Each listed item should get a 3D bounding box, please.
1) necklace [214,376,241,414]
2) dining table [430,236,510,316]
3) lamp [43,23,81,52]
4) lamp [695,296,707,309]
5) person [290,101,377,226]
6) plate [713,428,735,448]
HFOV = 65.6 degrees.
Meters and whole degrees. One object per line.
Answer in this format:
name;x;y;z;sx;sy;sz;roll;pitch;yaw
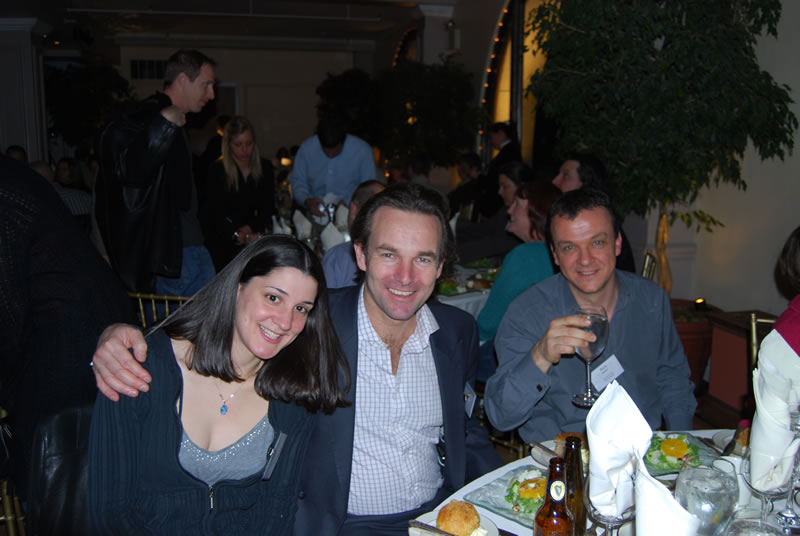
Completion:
necklace;-0.714;0.523;2.539;0.147;0.185;0.016;8;-26;-17
dining table;0.600;0.087;4.938;0.501;0.201;0.807;8;20;29
lamp;-6.334;-4.308;11.544;0.409;0.103;0.445;-11;-13;1
lamp;2.534;0.292;5.244;0.078;0.070;0.043;-16;20;-34
person;-0.725;-0.915;6.436;0.934;1.428;0.774;9;45;1
plate;1.307;0.692;2.536;0.077;0.032;0.079;-22;2;-16
